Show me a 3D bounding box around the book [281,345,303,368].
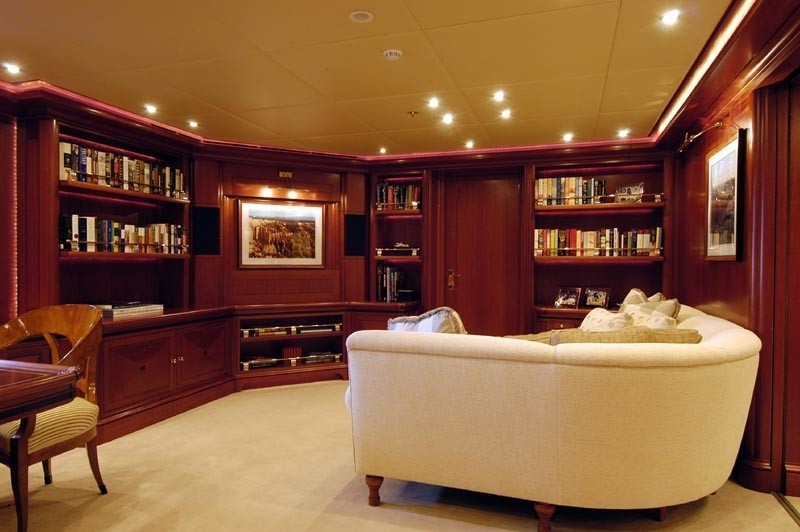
[{"bbox_3d":[-1.265,1.077,6.576,0.264,0.251,0.188,1,-2,-1],"label":"book"}]
